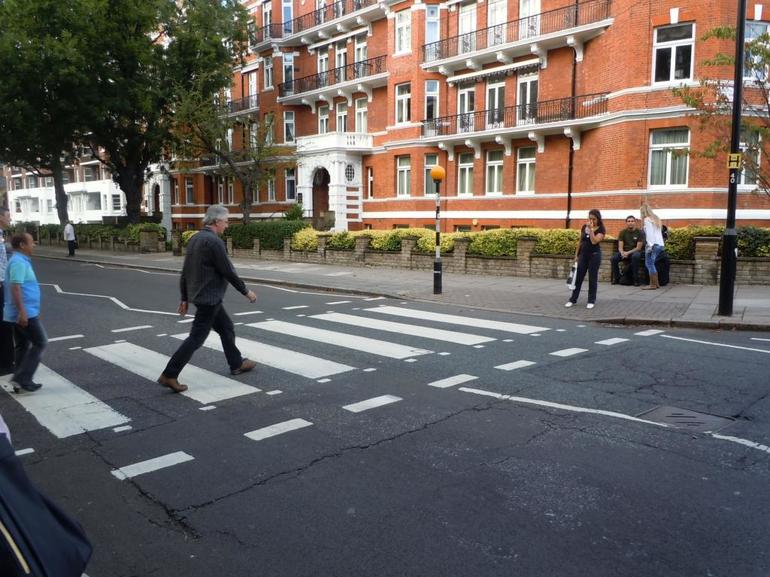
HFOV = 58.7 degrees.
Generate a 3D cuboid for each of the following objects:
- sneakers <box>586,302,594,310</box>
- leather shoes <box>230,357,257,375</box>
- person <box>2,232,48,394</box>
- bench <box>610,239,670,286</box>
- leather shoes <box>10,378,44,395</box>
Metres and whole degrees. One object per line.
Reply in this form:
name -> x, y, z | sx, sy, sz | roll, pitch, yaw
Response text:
sneakers -> 4.438, 0.384, 14.713 | 0.077, 0.108, 0.236 | 1, 9, 26
leather shoes -> -2.080, 1.126, 9.938 | 0.101, 0.222, 0.295 | 22, 34, 38
person -> -4.898, 0.319, 9.237 | 0.464, 2.105, 0.516 | -9, 12, -40
bench -> 6.752, -0.914, 18.126 | 0.772, 1.544, 1.253 | -8, 6, -37
leather shoes -> -4.872, 1.309, 9.284 | 0.445, 0.195, 0.157 | 5, 37, -40
